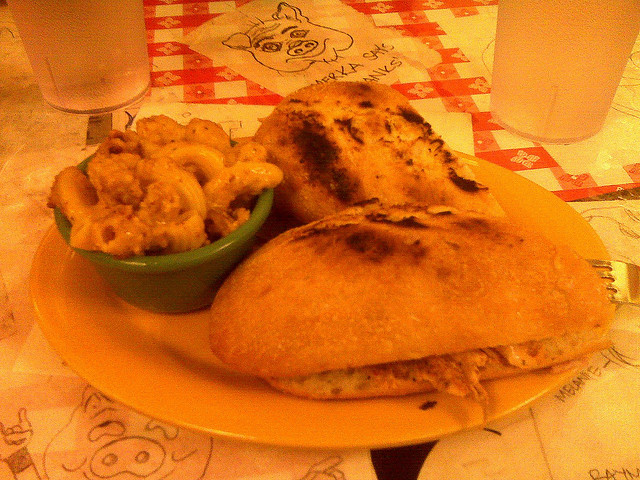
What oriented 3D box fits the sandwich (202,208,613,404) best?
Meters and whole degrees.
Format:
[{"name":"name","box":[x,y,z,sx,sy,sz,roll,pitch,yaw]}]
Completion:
[{"name":"sandwich","box":[0.099,0.096,0.678,0.607,0.144,0.238,-2,48,1]}]

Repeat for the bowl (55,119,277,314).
[{"name":"bowl","box":[-0.222,-0.076,0.821,0.368,0.172,0.284,-8,45,-11]}]

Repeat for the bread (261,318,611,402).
[{"name":"bread","box":[0.157,0.162,0.699,0.317,0.024,0.130,-5,33,-4]}]
